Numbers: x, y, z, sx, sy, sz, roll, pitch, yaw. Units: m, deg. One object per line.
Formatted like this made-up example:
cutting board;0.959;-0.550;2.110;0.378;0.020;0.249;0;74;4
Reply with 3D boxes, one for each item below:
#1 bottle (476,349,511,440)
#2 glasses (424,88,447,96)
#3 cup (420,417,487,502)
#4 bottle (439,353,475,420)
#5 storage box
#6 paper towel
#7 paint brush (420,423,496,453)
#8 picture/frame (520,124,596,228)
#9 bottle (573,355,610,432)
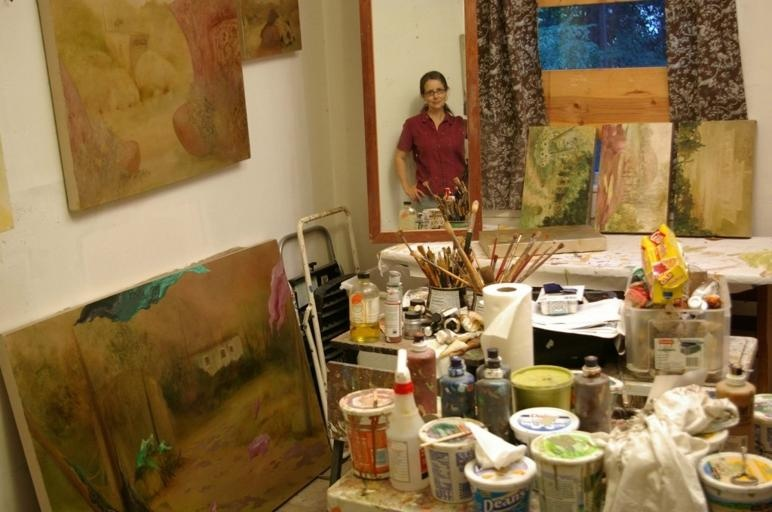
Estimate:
bottle;0.348;0.450;1.913;0.109;0.284;0.093;-1;14;9
glasses;0.303;-1.031;3.664;0.137;0.045;0.017;-2;14;5
cup;0.191;0.607;1.842;0.210;0.198;0.221;-6;7;1
bottle;0.238;0.447;1.972;0.119;0.209;0.158;-1;14;6
storage box;1.047;0.241;2.115;0.299;0.254;0.408;1;5;21
paper towel;0.409;0.258;2.172;0.135;0.224;0.156;7;-10;-23
paint brush;0.207;0.531;1.717;0.141;0.033;0.097;-11;4;-16
picture/frame;1.118;-0.528;3.829;0.445;0.637;0.187;1;15;18
bottle;0.676;0.448;1.926;0.119;0.238;0.153;2;15;21
